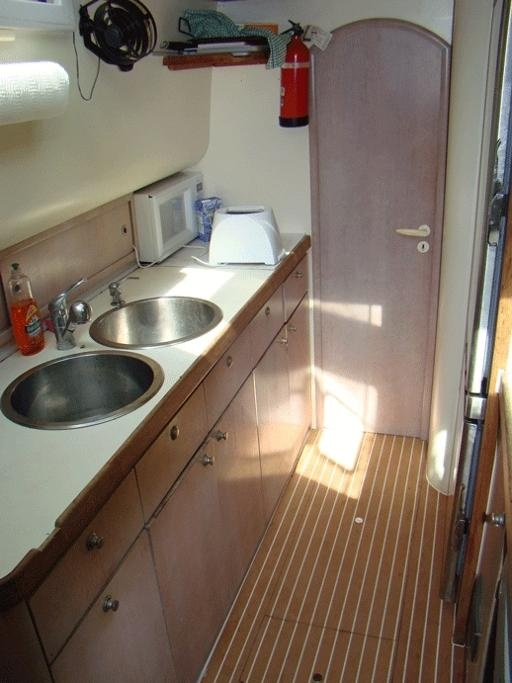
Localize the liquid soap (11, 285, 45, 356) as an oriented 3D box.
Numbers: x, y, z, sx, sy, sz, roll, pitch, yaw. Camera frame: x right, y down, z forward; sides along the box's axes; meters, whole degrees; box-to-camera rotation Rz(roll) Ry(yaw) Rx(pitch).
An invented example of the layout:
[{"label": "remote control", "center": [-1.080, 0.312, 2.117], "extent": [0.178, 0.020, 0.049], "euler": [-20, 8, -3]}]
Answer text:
[{"label": "liquid soap", "center": [-0.602, -0.080, 1.325], "extent": [0.049, 0.233, 0.078], "euler": [20, 34, 27]}]

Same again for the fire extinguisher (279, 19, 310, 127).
[{"label": "fire extinguisher", "center": [0.152, -1.080, 2.070], "extent": [0.094, 0.408, 0.138], "euler": [4, 20, 6]}]

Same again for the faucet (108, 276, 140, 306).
[{"label": "faucet", "center": [-0.455, -0.153, 1.728], "extent": [0.073, 0.102, 0.083], "euler": [10, 32, 16]}]

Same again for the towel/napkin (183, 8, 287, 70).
[{"label": "towel/napkin", "center": [-0.061, -1.106, 1.858], "extent": [0.441, 0.193, 0.149], "euler": [-14, 23, -20]}]
